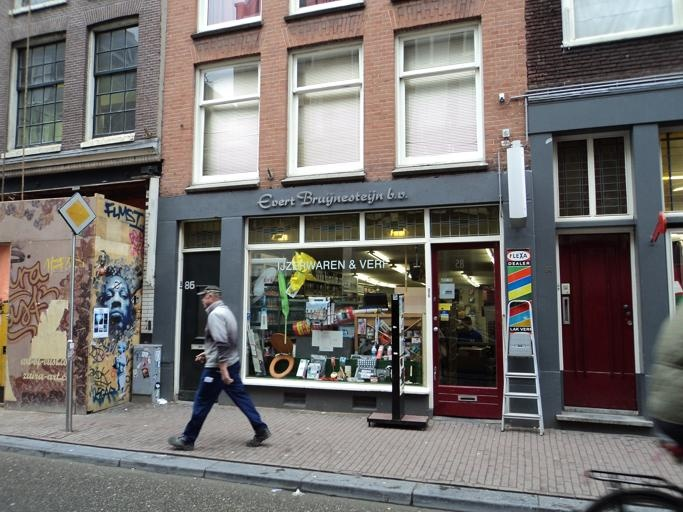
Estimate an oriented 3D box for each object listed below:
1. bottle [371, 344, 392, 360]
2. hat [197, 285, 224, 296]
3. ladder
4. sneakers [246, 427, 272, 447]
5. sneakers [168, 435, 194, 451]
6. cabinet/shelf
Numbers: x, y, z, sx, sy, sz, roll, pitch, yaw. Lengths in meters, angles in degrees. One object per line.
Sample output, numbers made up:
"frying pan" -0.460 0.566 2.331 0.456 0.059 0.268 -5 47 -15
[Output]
"bottle" 0.769 1.853 12.665 0.387 0.295 0.047 -4 -5 22
"hat" -2.397 0.628 11.978 0.380 0.143 0.283 -4 -8 23
"ladder" 3.181 1.936 11.532 0.763 2.366 0.720 -2 8 8
"sneakers" -1.324 2.943 10.645 0.430 0.231 0.196 -11 -2 3
"sneakers" -2.569 2.975 10.432 0.386 0.207 0.186 18 -7 0
"cabinet/shelf" -0.704 1.058 13.151 1.747 1.812 0.615 0 0 13
